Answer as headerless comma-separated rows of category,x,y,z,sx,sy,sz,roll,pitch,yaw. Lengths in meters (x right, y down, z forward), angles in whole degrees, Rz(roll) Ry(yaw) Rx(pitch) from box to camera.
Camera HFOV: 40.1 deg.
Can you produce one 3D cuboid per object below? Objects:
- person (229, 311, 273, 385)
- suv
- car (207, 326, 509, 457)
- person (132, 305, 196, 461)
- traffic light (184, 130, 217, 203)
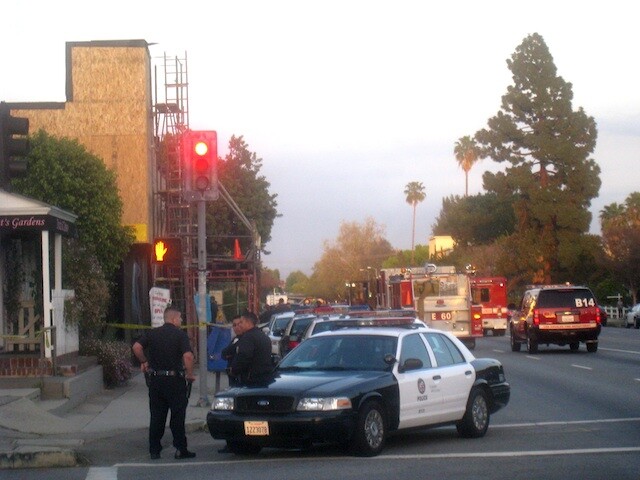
person,-1.249,2.068,16.442,0.665,1.658,0.738,2,1,-5
suv,8.692,2.951,33.176,2.510,2.752,5.286,-2,-2,2
car,0.474,2.554,15.091,1.986,2.033,5.574,-3,-5,43
person,-2.665,2.392,15.150,0.910,2.642,1.078,0,-1,-28
traffic light,-2.565,-1.591,18.729,0.723,1.502,0.333,0,-1,2
